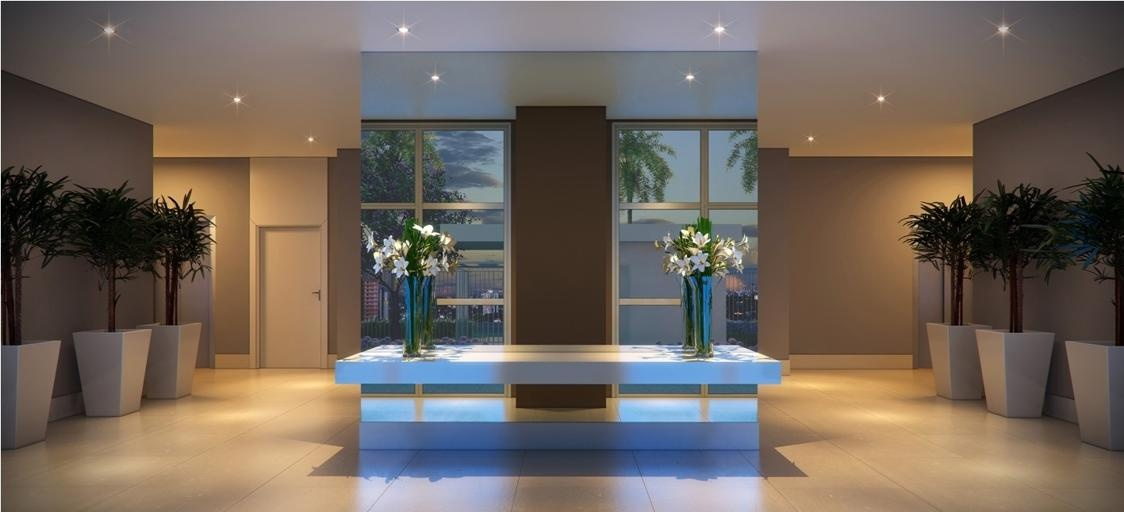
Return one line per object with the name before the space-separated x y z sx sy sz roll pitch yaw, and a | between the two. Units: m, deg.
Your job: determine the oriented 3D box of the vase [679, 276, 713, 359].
vase | 2.024 0.900 10.256 0.394 0.999 0.177 -1 0 6
